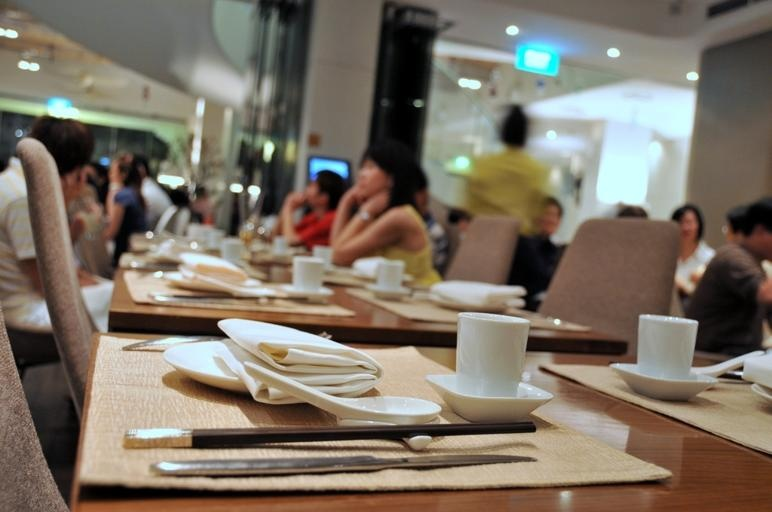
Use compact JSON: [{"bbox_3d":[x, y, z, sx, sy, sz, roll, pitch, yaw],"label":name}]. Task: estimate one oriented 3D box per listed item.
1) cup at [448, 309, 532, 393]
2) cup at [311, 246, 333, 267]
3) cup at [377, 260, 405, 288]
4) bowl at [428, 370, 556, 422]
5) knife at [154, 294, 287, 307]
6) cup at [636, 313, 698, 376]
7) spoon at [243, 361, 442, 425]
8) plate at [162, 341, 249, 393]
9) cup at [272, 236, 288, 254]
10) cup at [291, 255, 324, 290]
[{"bbox_3d":[0.153,0.151,0.946,0.118,0.123,0.113,4,-3,0],"label":"cup"},{"bbox_3d":[-0.254,-0.012,2.374,0.108,0.114,0.104,1,4,0],"label":"cup"},{"bbox_3d":[0.014,0.054,1.877,0.085,0.088,0.081,4,0,0],"label":"cup"},{"bbox_3d":[0.164,0.227,0.923,0.136,0.038,0.160,2,-3,-8],"label":"bowl"},{"bbox_3d":[-0.408,0.108,1.476,0.316,0.014,0.084,5,0,-25],"label":"knife"},{"bbox_3d":[0.500,0.164,1.112,0.110,0.120,0.106,5,2,0],"label":"cup"},{"bbox_3d":[-0.052,0.203,0.816,0.197,0.038,0.124,12,-10,-8],"label":"spoon"},{"bbox_3d":[-0.275,0.166,0.900,0.092,0.019,0.091,15,5,4],"label":"plate"},{"bbox_3d":[-0.560,-0.065,3.101,0.098,0.072,0.093,1,9,0],"label":"cup"},{"bbox_3d":[-0.220,0.039,1.675,0.090,0.094,0.085,2,0,0],"label":"cup"}]
